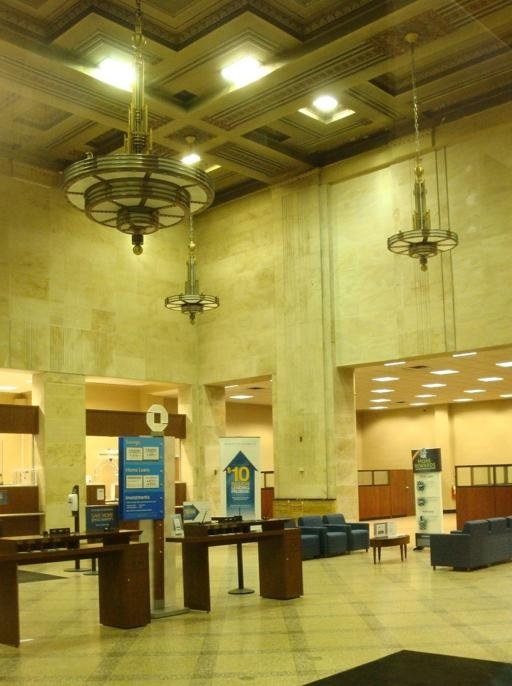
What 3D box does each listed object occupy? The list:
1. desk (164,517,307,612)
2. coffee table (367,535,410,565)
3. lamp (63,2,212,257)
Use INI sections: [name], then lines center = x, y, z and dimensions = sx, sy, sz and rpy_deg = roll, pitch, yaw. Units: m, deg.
[desk]
center = -0.162, 2.736, 8.829
dimensions = 1.661, 0.887, 0.476
rpy_deg = -5, -18, 8
[coffee table]
center = 2.497, 3.868, 13.069
dimensions = 0.710, 0.442, 0.962
rpy_deg = -3, -8, 8
[lamp]
center = -1.310, -2.567, 7.703
dimensions = 1.628, 3.148, 1.552
rpy_deg = -2, -5, -9
